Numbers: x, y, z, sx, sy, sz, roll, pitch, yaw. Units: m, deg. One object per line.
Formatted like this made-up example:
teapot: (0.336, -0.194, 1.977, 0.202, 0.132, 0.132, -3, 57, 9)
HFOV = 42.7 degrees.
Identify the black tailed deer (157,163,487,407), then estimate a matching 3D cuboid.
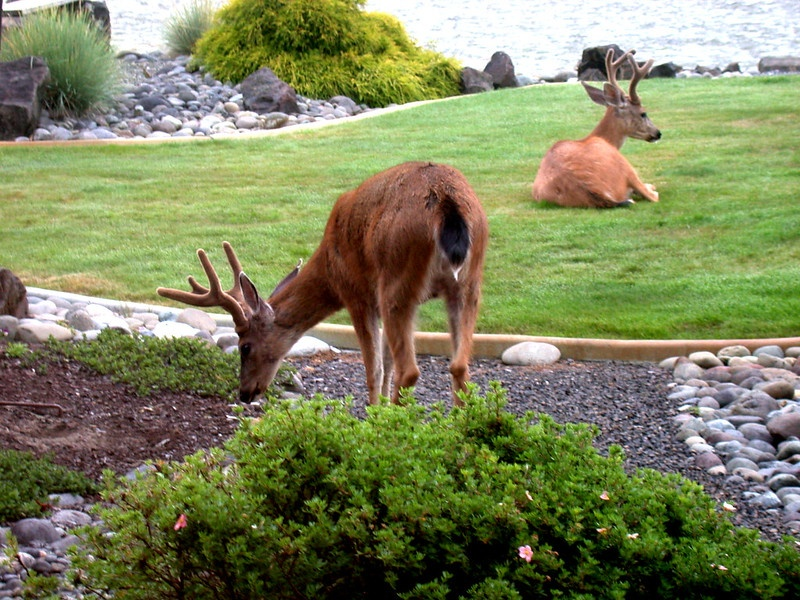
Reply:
black tailed deer: (-0.479, 0.277, 8.809, 1.453, 2.214, 3.216, 7, -20, -45)

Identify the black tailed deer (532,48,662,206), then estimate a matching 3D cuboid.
black tailed deer: (2.682, -2.209, 13.795, 2.036, 2.207, 1.162, -10, -1, -31)
